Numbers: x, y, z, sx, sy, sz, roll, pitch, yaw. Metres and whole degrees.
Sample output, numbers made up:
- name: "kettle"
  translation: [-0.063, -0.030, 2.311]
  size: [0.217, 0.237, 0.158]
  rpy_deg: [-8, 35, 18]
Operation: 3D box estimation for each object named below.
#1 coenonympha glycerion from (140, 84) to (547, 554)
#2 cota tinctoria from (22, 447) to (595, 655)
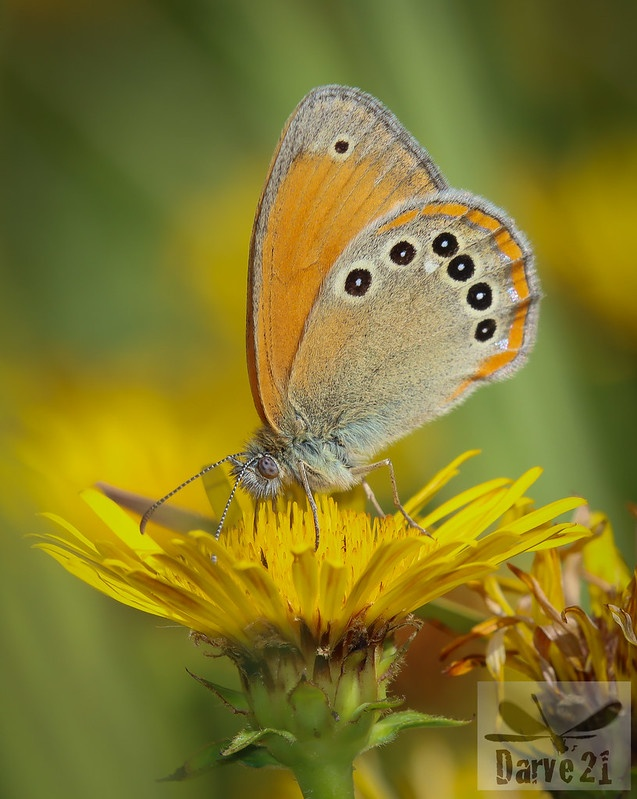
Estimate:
- name: "coenonympha glycerion"
  translation: [0.003, -0.156, 2.029]
  size: [0.926, 0.913, 0.710]
  rpy_deg: [4, -22, -32]
- name: "cota tinctoria"
  translation: [-0.075, 0.193, 1.555]
  size: [0.817, 0.490, 0.525]
  rpy_deg: [-9, -4, -36]
